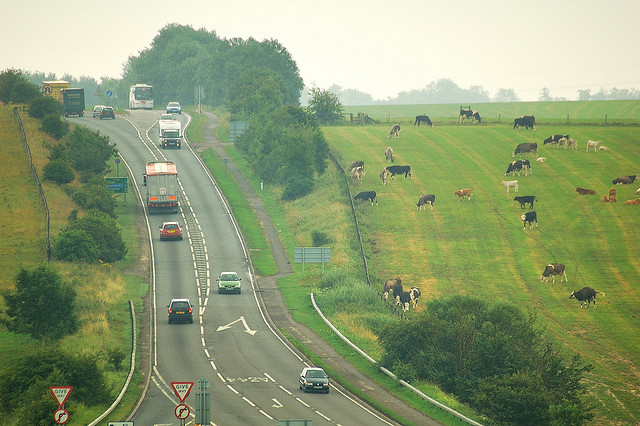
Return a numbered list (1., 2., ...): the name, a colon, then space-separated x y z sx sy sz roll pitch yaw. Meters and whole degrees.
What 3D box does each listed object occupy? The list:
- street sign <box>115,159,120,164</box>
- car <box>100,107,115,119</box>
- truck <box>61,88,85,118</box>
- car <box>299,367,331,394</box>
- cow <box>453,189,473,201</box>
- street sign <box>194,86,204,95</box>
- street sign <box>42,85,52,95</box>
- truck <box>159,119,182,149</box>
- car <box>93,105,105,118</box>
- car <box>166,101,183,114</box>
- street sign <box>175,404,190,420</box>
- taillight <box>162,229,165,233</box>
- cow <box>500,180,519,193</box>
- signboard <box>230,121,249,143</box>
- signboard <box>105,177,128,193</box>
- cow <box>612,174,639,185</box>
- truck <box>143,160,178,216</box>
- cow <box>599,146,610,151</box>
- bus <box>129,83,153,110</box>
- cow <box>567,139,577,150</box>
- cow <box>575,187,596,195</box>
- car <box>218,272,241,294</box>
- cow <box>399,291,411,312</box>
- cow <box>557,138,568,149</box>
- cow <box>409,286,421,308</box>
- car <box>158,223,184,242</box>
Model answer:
1. street sign: -30.701 -7.861 197.226 0.752 0.710 0.745 -3 1 -12
2. car: -39.986 -18.775 243.940 1.853 1.489 3.027 -2 9 -11
3. truck: -45.230 -19.277 239.965 4.480 5.121 8.995 -3 -8 -10
4. car: -0.737 19.325 150.475 3.371 2.861 2.275 -2 5 -5
5. cow: 21.823 -2.855 200.165 2.710 1.758 2.074 -2 5 -3
6. street sign: -27.578 -27.652 292.017 1.946 1.900 0.754 8 3 34
7. street sign: -47.892 -21.683 228.536 1.983 1.953 0.459 3 -10 -24
8. truck: -25.728 -13.419 222.411 2.720 3.092 5.633 -1 2 -11
9. car: -42.054 -19.116 247.172 2.421 2.028 3.991 -2 11 -9
10. car: -28.856 -20.843 257.181 2.639 1.883 2.973 -2 5 -15
11. street sign: -14.501 20.758 136.653 1.242 1.677 1.308 -1 5 4
12. taillight: -22.160 2.478 183.785 0.324 0.444 0.079 2 6 34
13. cow: 29.334 -4.153 201.915 2.521 1.834 2.630 0 5 11
14. signboard: -14.727 -14.485 230.402 3.070 3.236 2.155 0 5 9
15. signboard: -30.506 -4.190 194.020 2.409 1.695 0.328 2 7 7
16. cow: 47.061 -5.273 202.904 4.522 2.156 1.431 0 4 -7
17. truck: -23.294 -3.760 190.413 4.546 7.177 3.851 -3 5 -19
18. cow: 47.061 -10.914 216.787 1.475 0.560 0.841 -4 6 -35
19. bus: -36.312 -23.521 262.995 4.132 4.812 3.266 3 6 40
20. cow: 42.288 -11.661 218.518 1.130 1.576 2.512 3 6 42
21. cow: 40.628 -3.236 200.819 3.397 1.505 1.044 7 21 11
22. car: -12.044 9.216 171.139 2.735 2.672 1.338 -2 5 -13
23. cow: 11.076 11.482 169.900 1.356 2.367 1.462 -2 5 -11
24. cow: 40.459 -11.710 218.032 1.425 1.795 0.905 2 6 33
25. cow: 12.294 10.953 171.222 1.157 2.653 1.985 0 5 10
26. car: -21.059 2.600 184.905 3.771 2.586 2.258 -3 5 -20
